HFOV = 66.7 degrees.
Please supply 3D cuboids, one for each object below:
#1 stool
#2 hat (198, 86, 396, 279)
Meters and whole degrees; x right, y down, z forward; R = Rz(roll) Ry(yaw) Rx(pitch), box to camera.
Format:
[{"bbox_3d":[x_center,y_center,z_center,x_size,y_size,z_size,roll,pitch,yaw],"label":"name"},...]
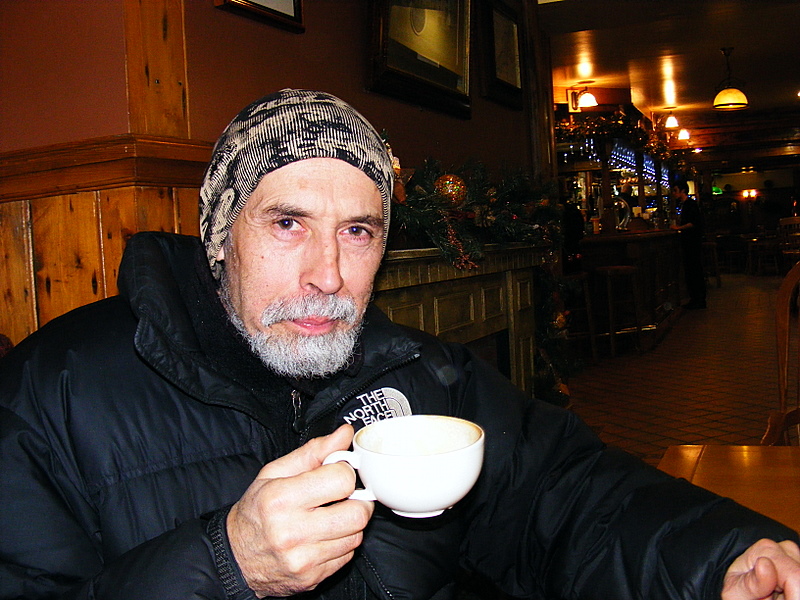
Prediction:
[{"bbox_3d":[2.141,0.149,6.470,0.815,1.243,0.849,-2,-9,-6],"label":"stool"},{"bbox_3d":[-0.268,-0.302,1.516,0.369,0.391,0.395,4,-23,-13],"label":"hat"}]
